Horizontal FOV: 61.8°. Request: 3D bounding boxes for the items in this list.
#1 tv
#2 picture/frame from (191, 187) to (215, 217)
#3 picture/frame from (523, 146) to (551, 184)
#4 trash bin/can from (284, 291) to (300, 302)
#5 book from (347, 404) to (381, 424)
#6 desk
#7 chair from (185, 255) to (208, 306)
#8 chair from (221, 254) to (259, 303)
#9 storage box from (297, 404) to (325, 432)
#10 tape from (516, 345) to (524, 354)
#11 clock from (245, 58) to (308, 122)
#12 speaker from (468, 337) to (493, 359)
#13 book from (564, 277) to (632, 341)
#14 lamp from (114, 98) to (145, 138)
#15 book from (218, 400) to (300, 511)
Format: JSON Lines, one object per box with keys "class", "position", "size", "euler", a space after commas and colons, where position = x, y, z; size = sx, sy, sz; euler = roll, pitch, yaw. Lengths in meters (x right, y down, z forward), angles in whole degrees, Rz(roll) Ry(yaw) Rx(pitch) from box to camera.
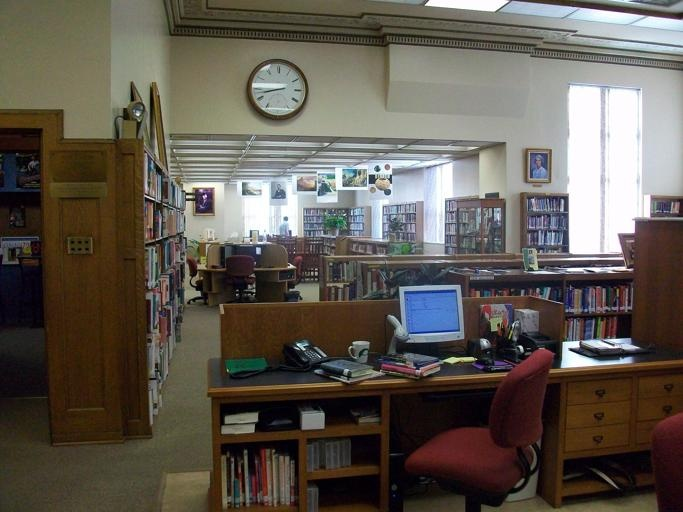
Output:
{"class": "tv", "position": [0.723, 0.510, 4.666], "size": [0.543, 0.522, 0.195], "euler": [-1, -2, -10]}
{"class": "picture/frame", "position": [-4.811, -1.914, 20.081], "size": [0.766, 0.959, 0.426], "euler": [-3, 11, -14]}
{"class": "picture/frame", "position": [3.670, -1.734, 10.755], "size": [0.672, 0.918, 0.066], "euler": [-1, 2, -13]}
{"class": "trash bin/can", "position": [-0.936, 0.765, 10.930], "size": [0.190, 0.170, 0.268], "euler": [-1, 2, -1]}
{"class": "book", "position": [0.178, 1.188, 4.331], "size": [0.205, 0.078, 0.195], "euler": [-3, 12, -11]}
{"class": "desk", "position": [-2.002, 0.350, 11.875], "size": [1.941, 1.266, 1.630], "euler": [-1, 5, -25]}
{"class": "chair", "position": [-2.938, 0.501, 12.013], "size": [0.618, 0.987, 0.603], "euler": [-1, -2, 6]}
{"class": "chair", "position": [-1.937, 0.476, 10.969], "size": [0.598, 0.958, 0.644], "euler": [-1, -4, 12]}
{"class": "storage box", "position": [-0.223, 1.181, 4.160], "size": [0.153, 0.113, 0.272], "euler": [0, -1, -6]}
{"class": "tape", "position": [1.453, 0.756, 4.648], "size": [0.052, 0.102, 0.070], "euler": [2, 8, 2]}
{"class": "clock", "position": [-1.122, -2.816, 9.575], "size": [1.014, 1.060, 0.078], "euler": [1, 3, -13]}
{"class": "speaker", "position": [1.150, 0.760, 4.733], "size": [0.129, 0.143, 0.184], "euler": [0, 1, -20]}
{"class": "book", "position": [3.232, 0.654, 7.257], "size": [0.750, 0.720, 0.251], "euler": [-2, 8, -7]}
{"class": "lamp", "position": [-2.113, -1.368, 5.720], "size": [0.255, 0.360, 0.425], "euler": [-3, 11, -12]}
{"class": "book", "position": [-0.567, 1.441, 4.480], "size": [0.756, 0.769, 0.628], "euler": [0, -2, -10]}
